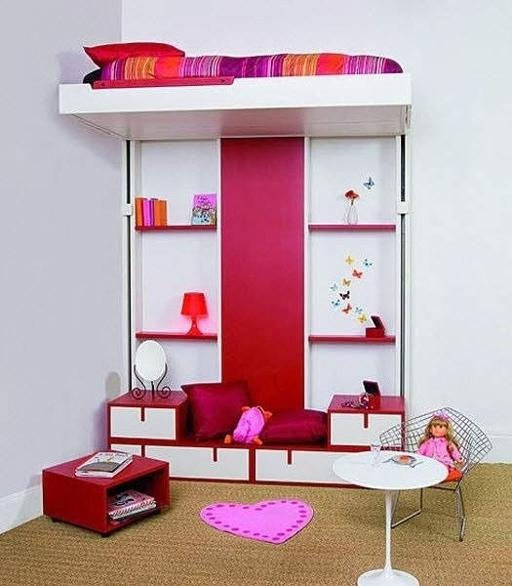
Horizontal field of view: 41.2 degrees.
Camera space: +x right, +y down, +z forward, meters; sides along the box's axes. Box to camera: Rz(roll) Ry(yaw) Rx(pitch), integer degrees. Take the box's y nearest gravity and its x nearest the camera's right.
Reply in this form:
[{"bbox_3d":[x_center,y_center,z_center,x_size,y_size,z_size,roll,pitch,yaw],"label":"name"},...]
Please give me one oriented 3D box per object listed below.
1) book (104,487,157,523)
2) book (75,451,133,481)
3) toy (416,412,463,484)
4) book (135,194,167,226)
[{"bbox_3d":[-0.683,1.162,3.742,0.293,0.060,0.287,2,4,31],"label":"book"},{"bbox_3d":[-0.826,0.946,3.738,0.214,0.049,0.237,0,2,5],"label":"book"},{"bbox_3d":[0.974,0.809,3.672,0.291,0.306,0.212,-5,-18,25],"label":"toy"},{"bbox_3d":[-0.760,-0.580,4.903,0.218,0.242,0.278,2,5,15],"label":"book"}]
